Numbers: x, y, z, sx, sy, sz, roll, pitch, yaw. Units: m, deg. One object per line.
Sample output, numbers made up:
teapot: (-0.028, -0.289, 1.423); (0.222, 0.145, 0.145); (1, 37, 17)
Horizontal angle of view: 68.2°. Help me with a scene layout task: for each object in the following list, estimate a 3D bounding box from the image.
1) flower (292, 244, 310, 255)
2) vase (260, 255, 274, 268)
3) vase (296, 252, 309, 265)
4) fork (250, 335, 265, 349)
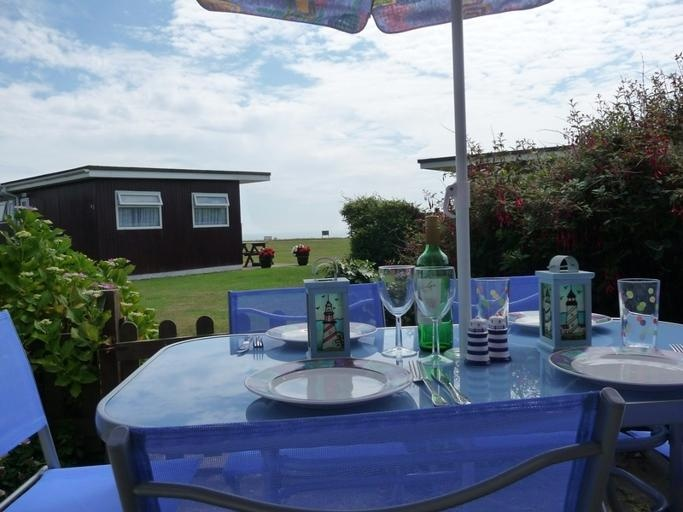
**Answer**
flower: (-1.316, -0.214, 16.612); (0.389, 0.266, 0.401); (0, 4, -3)
vase: (-2.437, 0.163, 16.247); (0.371, 0.304, 0.380); (0, 1, 31)
vase: (-1.306, 0.087, 17.088); (0.352, 0.282, 0.360); (-1, 5, 3)
fork: (-0.284, 0.293, 1.720); (0.032, 0.039, 0.032); (-8, 11, -37)
